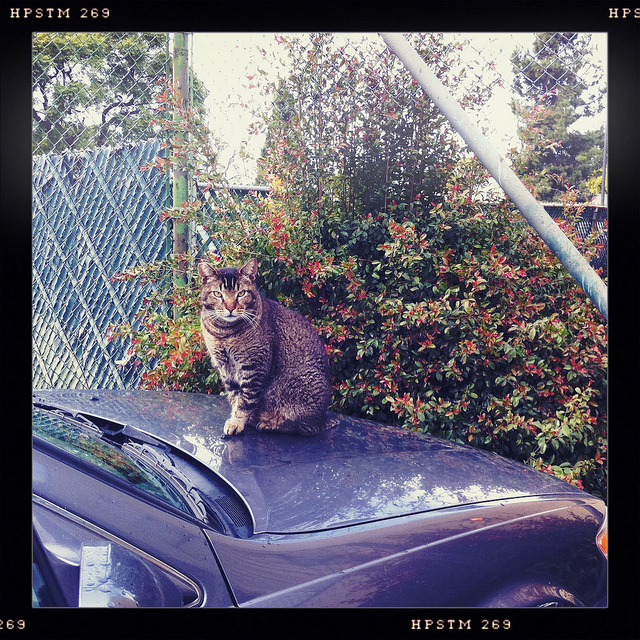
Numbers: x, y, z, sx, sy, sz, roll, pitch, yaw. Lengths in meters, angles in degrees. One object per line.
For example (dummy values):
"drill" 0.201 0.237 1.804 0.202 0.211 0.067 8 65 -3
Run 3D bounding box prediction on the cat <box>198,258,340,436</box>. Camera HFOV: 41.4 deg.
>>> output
"cat" -0.247 0.083 3.825 0.589 0.860 0.493 -15 30 -34
